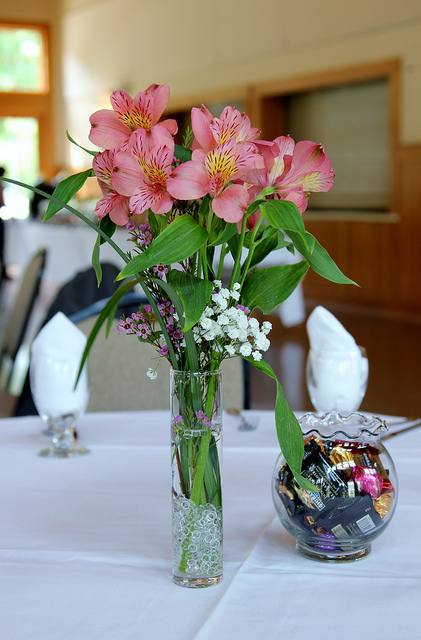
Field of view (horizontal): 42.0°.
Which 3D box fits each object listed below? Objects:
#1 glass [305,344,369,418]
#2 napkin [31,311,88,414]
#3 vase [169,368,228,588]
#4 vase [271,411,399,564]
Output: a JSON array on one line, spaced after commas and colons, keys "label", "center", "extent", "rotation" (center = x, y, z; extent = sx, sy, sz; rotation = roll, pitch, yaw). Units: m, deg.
[{"label": "glass", "center": [0.224, 0.104, 0.977], "extent": [0.125, 0.139, 0.128], "rotation": [-3, -8, 29]}, {"label": "napkin", "center": [-0.248, 0.087, 0.890], "extent": [0.089, 0.193, 0.048], "rotation": [0, 17, -25]}, {"label": "vase", "center": [-0.008, 0.142, 0.502], "extent": [0.050, 0.204, 0.098], "rotation": [1, 1, 2]}, {"label": "vase", "center": [0.134, 0.172, 0.591], "extent": [0.131, 0.148, 0.128], "rotation": [1, -4, -32]}]
